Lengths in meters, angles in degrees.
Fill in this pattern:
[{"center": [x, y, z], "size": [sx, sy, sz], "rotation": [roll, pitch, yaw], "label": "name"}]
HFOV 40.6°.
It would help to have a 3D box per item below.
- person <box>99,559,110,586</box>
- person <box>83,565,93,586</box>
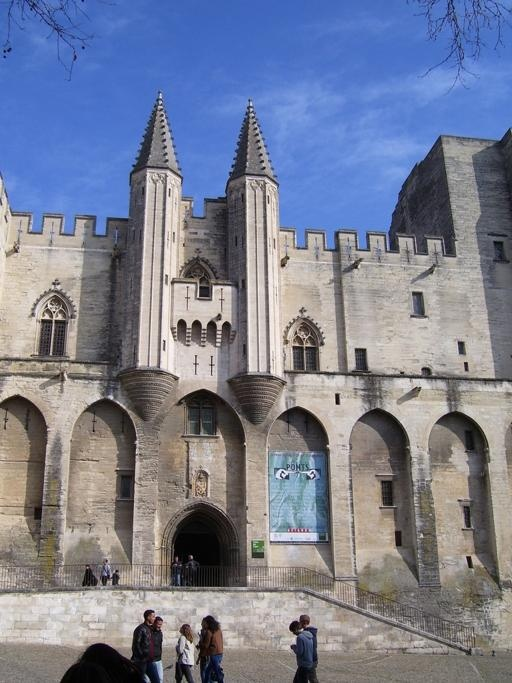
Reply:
[{"center": [-5.388, 8.293, 24.840], "size": [0.375, 0.751, 1.422], "rotation": [2, -14, -13], "label": "person"}, {"center": [-5.852, 8.142, 24.142], "size": [0.384, 0.632, 1.438], "rotation": [2, -14, -13], "label": "person"}]
